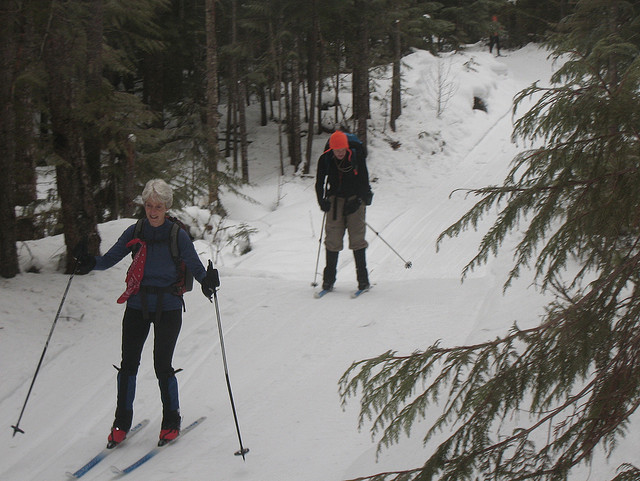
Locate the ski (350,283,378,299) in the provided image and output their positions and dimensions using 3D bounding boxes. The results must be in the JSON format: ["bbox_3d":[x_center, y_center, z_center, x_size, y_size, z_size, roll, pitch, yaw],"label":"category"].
[{"bbox_3d":[0.685,0.759,11.634,0.117,0.075,0.722,5,21,31],"label":"ski"}]

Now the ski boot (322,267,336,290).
[{"bbox_3d":[0.130,0.601,11.707,0.179,0.355,0.337,3,14,25],"label":"ski boot"}]

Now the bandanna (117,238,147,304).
[{"bbox_3d":[-2.059,0.342,8.485,0.335,0.716,0.314,-8,9,-23],"label":"bandanna"}]

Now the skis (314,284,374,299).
[{"bbox_3d":[0.384,0.791,11.604,0.884,0.116,0.095,-6,32,30],"label":"skis"}]

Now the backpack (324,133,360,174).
[{"bbox_3d":[0.402,-1.315,11.426,0.455,0.559,0.572,-1,6,4],"label":"backpack"}]

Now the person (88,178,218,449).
[{"bbox_3d":[-1.735,0.824,8.387,0.974,2.920,0.938,3,15,27],"label":"person"}]
